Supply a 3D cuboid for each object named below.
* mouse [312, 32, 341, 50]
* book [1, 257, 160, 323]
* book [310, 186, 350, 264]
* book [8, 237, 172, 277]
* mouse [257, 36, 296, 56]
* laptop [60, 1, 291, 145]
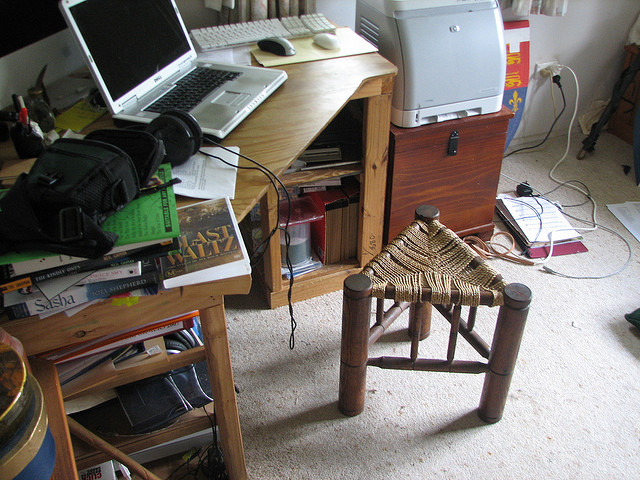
[{"bbox_3d":[0.026,-0.728,1.805,0.099,0.038,0.118,-5,39,-3],"label":"mouse"},{"bbox_3d":[-0.471,0.099,0.997,0.289,0.050,0.048,-12,39,-11],"label":"book"},{"bbox_3d":[0.038,-0.058,1.996,0.134,0.300,0.118,-17,41,-17],"label":"book"},{"bbox_3d":[-0.451,0.027,0.979,0.306,0.034,0.021,-10,39,-9],"label":"book"},{"bbox_3d":[-0.153,-0.704,1.767,0.128,0.041,0.067,19,42,22],"label":"mouse"},{"bbox_3d":[-0.374,-0.528,1.410,0.392,0.345,0.440,12,41,18],"label":"laptop"}]
